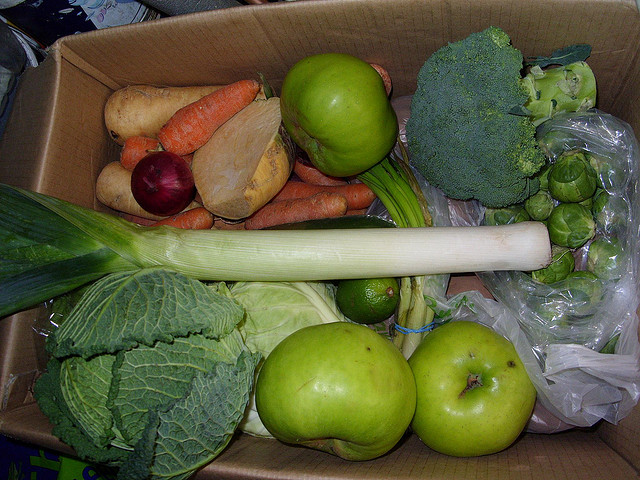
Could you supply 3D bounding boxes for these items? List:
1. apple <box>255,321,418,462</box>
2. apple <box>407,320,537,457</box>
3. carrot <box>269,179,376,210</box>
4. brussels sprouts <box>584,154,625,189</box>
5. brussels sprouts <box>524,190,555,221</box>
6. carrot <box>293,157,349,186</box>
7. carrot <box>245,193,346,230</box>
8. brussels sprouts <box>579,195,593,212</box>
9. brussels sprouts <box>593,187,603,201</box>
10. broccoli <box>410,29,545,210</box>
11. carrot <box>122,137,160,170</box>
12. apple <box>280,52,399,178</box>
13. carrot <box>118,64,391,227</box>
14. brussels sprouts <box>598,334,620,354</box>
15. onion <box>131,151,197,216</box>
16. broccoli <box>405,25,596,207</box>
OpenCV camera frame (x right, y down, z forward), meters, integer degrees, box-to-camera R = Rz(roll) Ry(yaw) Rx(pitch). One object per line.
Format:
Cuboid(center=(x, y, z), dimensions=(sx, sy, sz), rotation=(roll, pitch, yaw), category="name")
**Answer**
Cuboid(center=(0.045, 0.400, 1.364), dimensions=(0.389, 0.360, 0.357), rotation=(5, 83, 2), category="apple")
Cuboid(center=(0.463, 0.441, 1.639), dimensions=(0.332, 0.375, 0.390), rotation=(-4, 83, 12), category="apple")
Cuboid(center=(-0.005, -0.153, 1.876), dimensions=(0.403, 0.121, 0.119), rotation=(-2, 44, 2), category="carrot")
Cuboid(center=(0.877, -0.216, 1.591), dimensions=(0.092, 0.087, 0.071), rotation=(30, 101, -2), category="brussels sprouts")
Cuboid(center=(0.703, -0.109, 1.676), dimensions=(0.074, 0.094, 0.089), rotation=(-21, 93, -22), category="brussels sprouts")
Cuboid(center=(-0.010, -0.230, 1.895), dimensions=(0.138, 0.112, 0.088), rotation=(8, 89, -19), category="carrot")
Cuboid(center=(-0.100, -0.097, 1.799), dimensions=(0.370, 0.109, 0.117), rotation=(-9, 99, 7), category="carrot")
Cuboid(center=(0.844, -0.114, 1.595), dimensions=(0.038, 0.040, 0.024), rotation=(-7, 104, 27), category="brussels sprouts")
Cuboid(center=(0.879, -0.145, 1.603), dimensions=(0.010, 0.022, 0.039), rotation=(15, 88, -22), category="brussels sprouts")
Cuboid(center=(0.472, -0.358, 1.528), dimensions=(0.438, 0.148, 0.536), rotation=(9, 104, 26), category="broccoli")
Cuboid(center=(-0.653, -0.317, 1.838), dimensions=(0.139, 0.062, 0.074), rotation=(-32, 72, -4), category="carrot")
Cuboid(center=(0.047, -0.394, 1.658), dimensions=(0.355, 0.342, 0.381), rotation=(-4, 117, -6), category="apple")
Cuboid(center=(-0.222, -0.316, 1.679), dimensions=(0.649, 0.185, 0.149), rotation=(-34, 62, 2), category="carrot")
Cuboid(center=(0.884, 0.314, 1.550), dimensions=(0.014, 0.016, 0.060), rotation=(28, 95, 9), category="brussels sprouts")
Cuboid(center=(-0.565, -0.198, 1.798), dimensions=(0.242, 0.257, 0.253), rotation=(-4, 82, -17), category="onion")
Cuboid(center=(0.570, -0.415, 1.776), dimensions=(0.516, 0.540, 0.560), rotation=(5, 116, 8), category="broccoli")
